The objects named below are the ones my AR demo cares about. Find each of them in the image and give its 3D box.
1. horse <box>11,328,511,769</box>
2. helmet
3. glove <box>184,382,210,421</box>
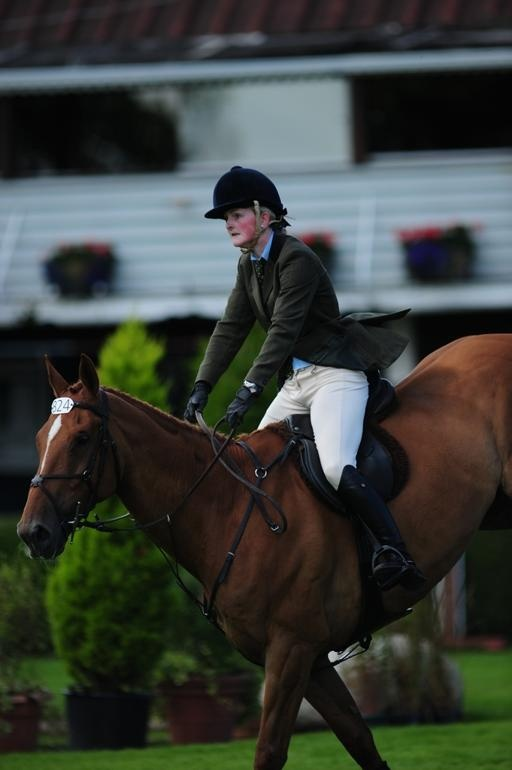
[{"bbox_3d":[0.113,0.819,6.576,2.474,2.163,1.011,0,7,-9],"label":"horse"},{"bbox_3d":[-0.056,-1.037,6.728,0.360,0.210,0.248,4,-24,-33],"label":"helmet"},{"bbox_3d":[-0.291,0.034,6.790,0.123,0.203,0.079,17,-8,38],"label":"glove"}]
